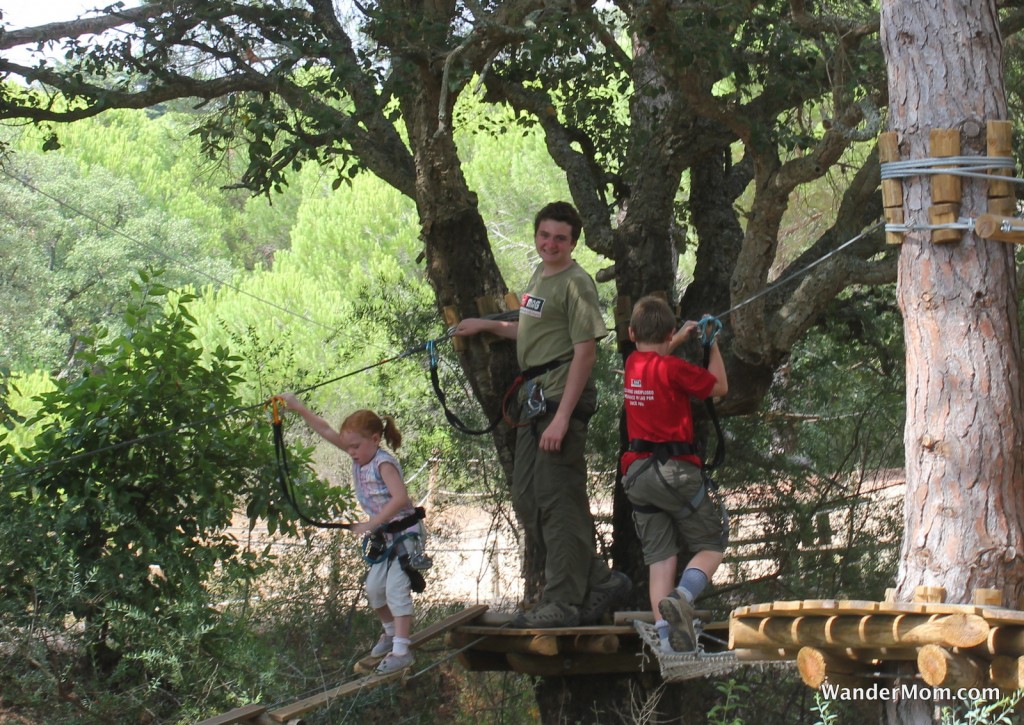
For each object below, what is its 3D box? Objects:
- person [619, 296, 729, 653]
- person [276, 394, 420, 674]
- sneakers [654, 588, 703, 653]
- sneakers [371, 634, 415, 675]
[{"bbox_3d":[1.291,0.828,11.453,0.870,2.735,0.592,-10,-1,2],"label":"person"},{"bbox_3d":[-1.092,1.315,11.581,0.801,2.094,0.569,-10,-1,-6],"label":"person"},{"bbox_3d":[1.275,1.971,11.286,0.240,0.535,0.248,-4,2,34],"label":"sneakers"},{"bbox_3d":[-0.891,2.247,11.327,0.411,0.284,0.157,-8,2,-15],"label":"sneakers"}]
